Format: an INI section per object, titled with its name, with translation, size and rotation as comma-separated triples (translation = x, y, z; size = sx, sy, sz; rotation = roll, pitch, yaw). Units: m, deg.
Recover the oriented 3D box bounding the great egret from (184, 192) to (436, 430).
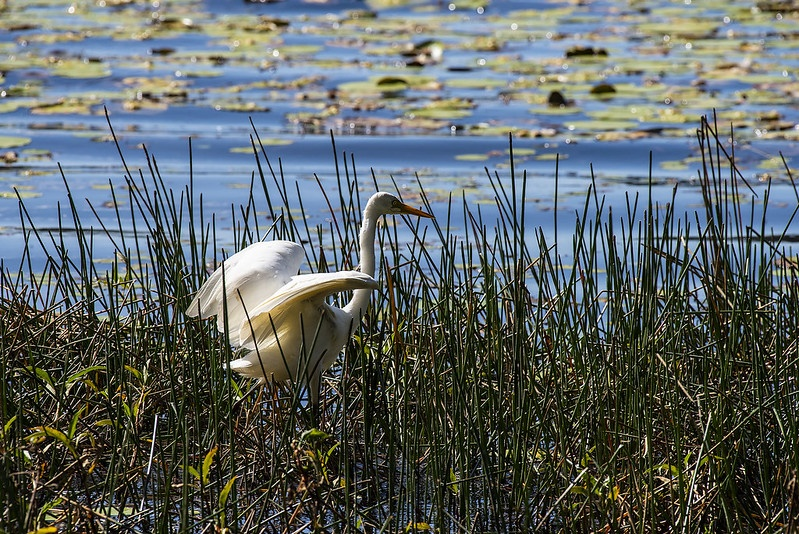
[great egret]
translation = -0.451, 0.171, 5.847
size = 0.945, 1.048, 1.182
rotation = -3, 5, -23
